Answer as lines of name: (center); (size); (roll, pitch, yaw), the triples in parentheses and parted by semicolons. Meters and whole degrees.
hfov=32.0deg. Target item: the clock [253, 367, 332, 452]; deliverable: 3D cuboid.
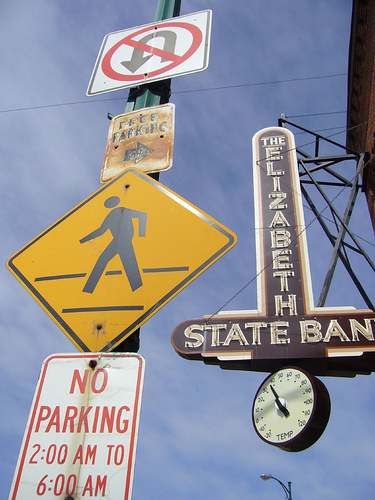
clock: (1.537, 2.418, 10.084); (0.449, 1.372, 1.214); (32, -43, -30)
